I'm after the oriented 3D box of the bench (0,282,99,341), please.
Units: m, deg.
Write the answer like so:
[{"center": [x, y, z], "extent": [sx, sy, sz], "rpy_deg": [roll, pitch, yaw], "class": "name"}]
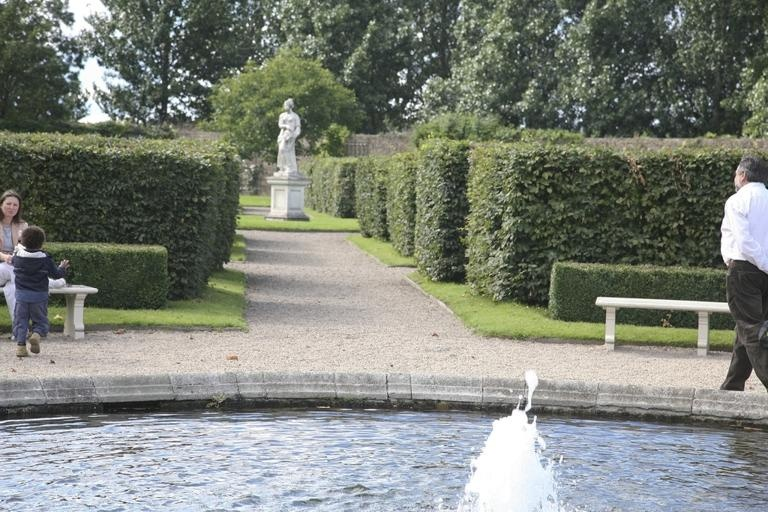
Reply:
[{"center": [-12.120, 2.063, 70.531], "extent": [2.168, 1.964, 1.940], "rpy_deg": [3, 6, 23], "class": "bench"}]
